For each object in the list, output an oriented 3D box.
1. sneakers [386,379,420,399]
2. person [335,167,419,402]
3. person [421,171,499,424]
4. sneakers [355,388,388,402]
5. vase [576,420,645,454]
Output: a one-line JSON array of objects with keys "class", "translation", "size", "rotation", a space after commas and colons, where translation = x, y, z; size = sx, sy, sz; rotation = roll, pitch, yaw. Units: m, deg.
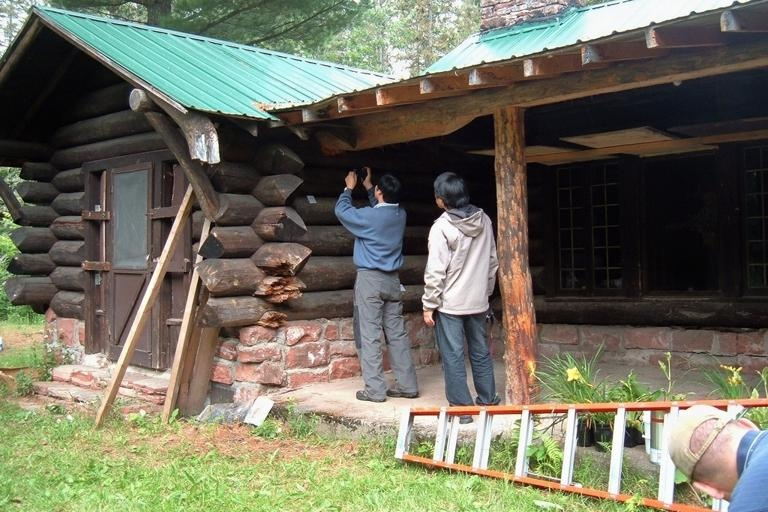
[{"class": "sneakers", "translation": [0.223, 1.484, 5.991], "size": [0.362, 0.203, 0.196], "rotation": [3, -6, 5]}, {"class": "person", "translation": [-0.058, 0.393, 6.055], "size": [1.032, 2.412, 0.424], "rotation": [4, -6, -4]}, {"class": "person", "translation": [0.800, 0.321, 5.314], "size": [0.821, 2.308, 0.341], "rotation": [6, -6, -21]}, {"class": "sneakers", "translation": [-0.134, 1.530, 5.844], "size": [0.321, 0.125, 0.124], "rotation": [12, 9, 29]}, {"class": "vase", "translation": [1.895, 1.474, 4.487], "size": [0.345, 0.198, 0.305], "rotation": [-5, -8, 31]}]
